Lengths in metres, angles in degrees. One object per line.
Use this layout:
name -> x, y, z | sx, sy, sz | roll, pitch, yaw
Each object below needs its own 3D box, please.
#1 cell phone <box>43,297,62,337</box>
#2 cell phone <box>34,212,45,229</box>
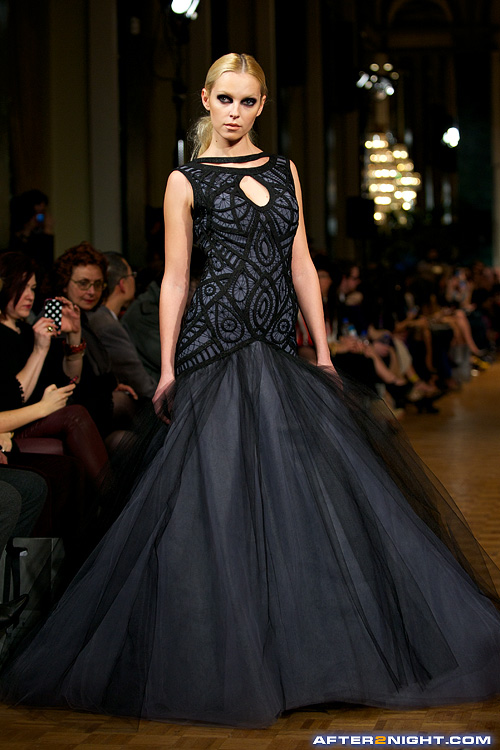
cell phone -> -0.760, -0.221, 2.531 | 0.093, 0.169, 0.035 | 4, 0, -29
cell phone -> -1.261, -0.922, 3.927 | 0.066, 0.075, 0.056 | 3, -21, -24
